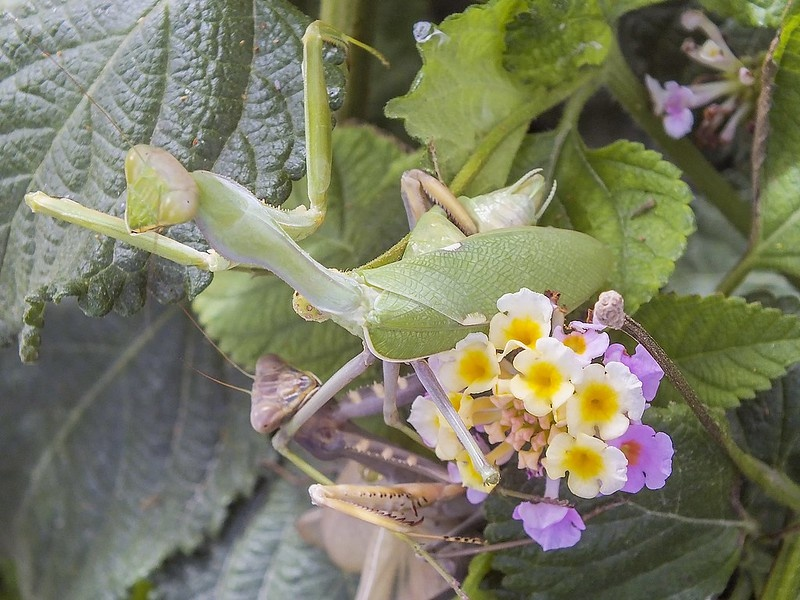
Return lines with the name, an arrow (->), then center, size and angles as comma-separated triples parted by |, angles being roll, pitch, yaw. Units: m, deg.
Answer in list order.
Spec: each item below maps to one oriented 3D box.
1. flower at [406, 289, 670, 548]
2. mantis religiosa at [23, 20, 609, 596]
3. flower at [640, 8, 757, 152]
flower -> 0.123, 0.097, 0.709 | 0.176, 0.058, 0.205 | -8, 57, -5
mantis religiosa -> -0.109, -0.001, 0.964 | 0.471, 0.638, 0.504 | -21, 10, -32
flower -> 0.296, -0.217, 0.845 | 0.103, 0.117, 0.044 | 1, 10, 32
